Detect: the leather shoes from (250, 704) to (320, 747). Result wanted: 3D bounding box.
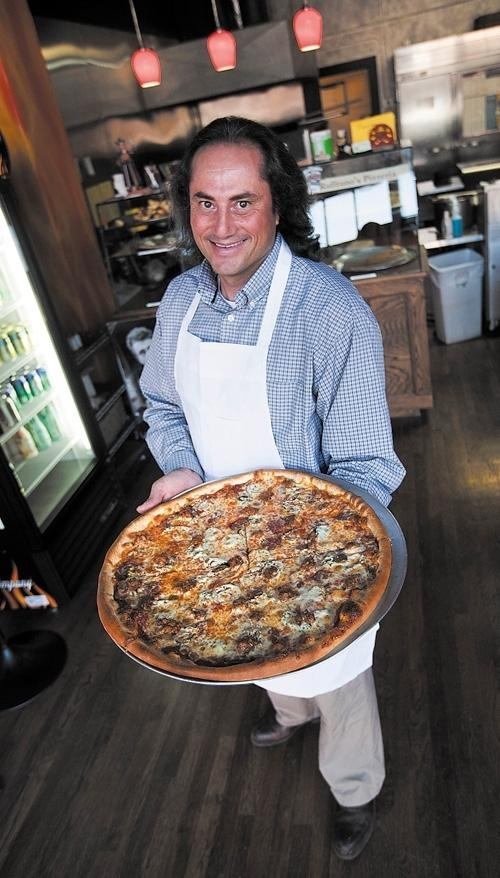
[{"bbox_3d":[0.116,0.892,1.801,0.229,0.100,0.086,-14,26,-31],"label":"leather shoes"}]

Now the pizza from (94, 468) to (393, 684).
[{"bbox_3d":[-0.015,0.100,0.951,0.444,0.084,0.484,14,39,27],"label":"pizza"}]

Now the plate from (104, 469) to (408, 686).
[{"bbox_3d":[-0.006,0.250,1.037,0.479,0.089,0.507,13,40,35],"label":"plate"}]

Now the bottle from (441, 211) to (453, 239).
[{"bbox_3d":[1.508,-1.627,4.403,0.084,0.182,0.231,-8,27,22],"label":"bottle"}]
